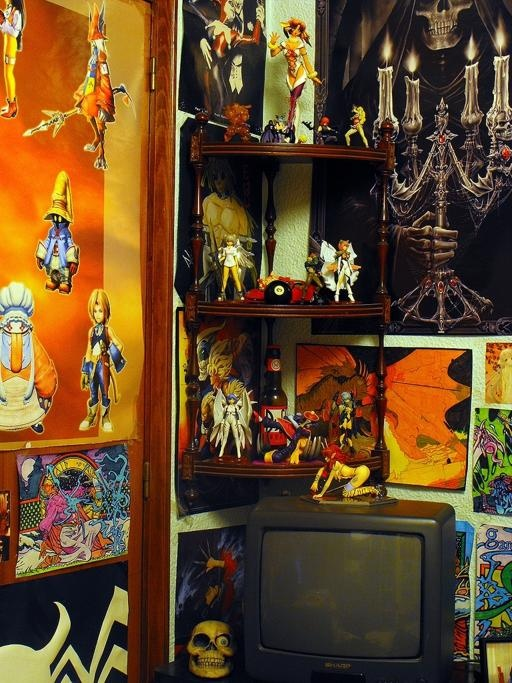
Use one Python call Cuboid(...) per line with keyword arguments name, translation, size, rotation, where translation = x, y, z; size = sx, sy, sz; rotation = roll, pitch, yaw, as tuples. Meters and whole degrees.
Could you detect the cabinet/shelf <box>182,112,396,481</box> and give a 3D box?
Cuboid(name="cabinet/shelf", translation=(0.096, -0.103, 1.778), size=(0.497, 0.961, 0.415), rotation=(0, -1, 24))
